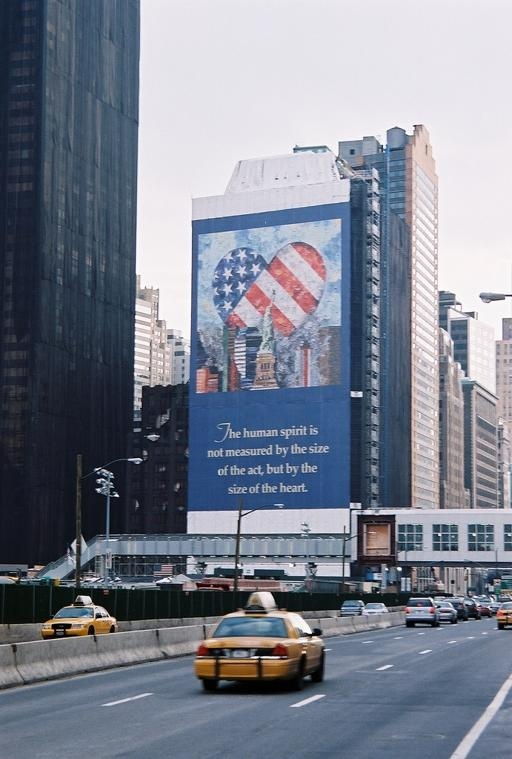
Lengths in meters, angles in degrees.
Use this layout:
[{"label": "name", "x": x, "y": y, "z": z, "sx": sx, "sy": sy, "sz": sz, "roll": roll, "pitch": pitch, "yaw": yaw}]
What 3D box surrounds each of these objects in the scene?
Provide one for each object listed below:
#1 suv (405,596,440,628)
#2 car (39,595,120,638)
[{"label": "suv", "x": 7.371, "y": 10.442, "z": 73.381, "sx": 1.125, "sy": 1.290, "sz": 2.987, "roll": -2, "pitch": -13, "yaw": 7}, {"label": "car", "x": -5.410, "y": 7.338, "z": 49.938, "sx": 1.563, "sy": 0.991, "sz": 3.059, "roll": 1, "pitch": -8, "yaw": 6}]
